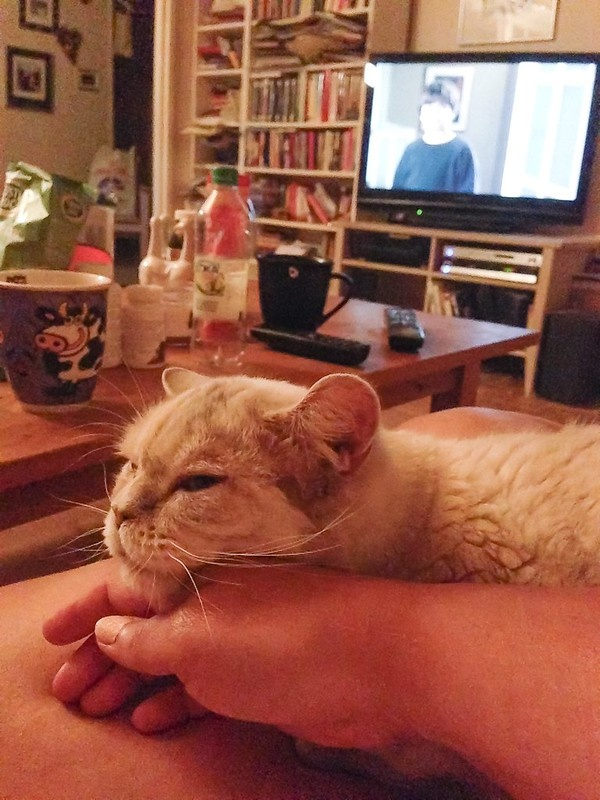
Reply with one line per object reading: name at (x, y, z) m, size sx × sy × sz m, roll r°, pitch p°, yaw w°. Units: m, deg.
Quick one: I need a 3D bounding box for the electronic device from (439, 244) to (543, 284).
electronic device at (0.836, -0.610, 3.104) m, size 0.142 × 0.166 × 0.571 m, roll -5°, pitch 20°, yaw -30°

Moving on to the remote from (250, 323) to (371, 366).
remote at (0.015, -0.107, 1.163) m, size 0.230 × 0.050 × 0.064 m, roll 10°, pitch 43°, yaw 42°

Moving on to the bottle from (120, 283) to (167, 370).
bottle at (-0.245, -0.109, 1.058) m, size 0.082 × 0.123 × 0.076 m, roll 2°, pitch 8°, yaw 0°

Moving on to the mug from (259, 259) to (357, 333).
mug at (0.013, -0.202, 1.306) m, size 0.213 × 0.140 × 0.140 m, roll -1°, pitch 8°, yaw -8°
